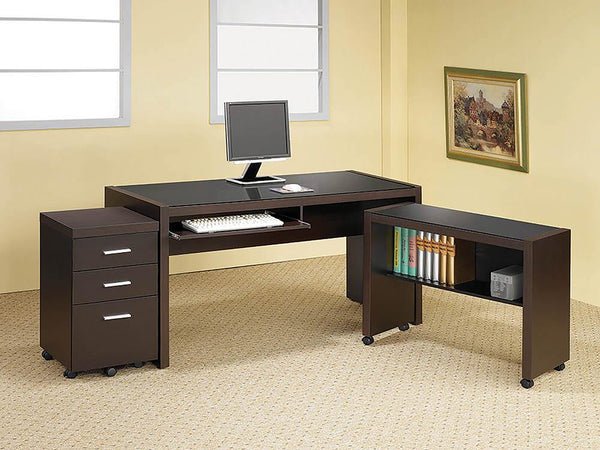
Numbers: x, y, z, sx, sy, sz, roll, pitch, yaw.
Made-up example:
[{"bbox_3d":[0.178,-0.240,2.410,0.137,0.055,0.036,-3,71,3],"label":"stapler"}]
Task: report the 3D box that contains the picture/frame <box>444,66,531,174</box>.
[{"bbox_3d":[1.765,-0.987,5.062,0.054,0.878,1.119,-8,11,-29],"label":"picture/frame"}]
